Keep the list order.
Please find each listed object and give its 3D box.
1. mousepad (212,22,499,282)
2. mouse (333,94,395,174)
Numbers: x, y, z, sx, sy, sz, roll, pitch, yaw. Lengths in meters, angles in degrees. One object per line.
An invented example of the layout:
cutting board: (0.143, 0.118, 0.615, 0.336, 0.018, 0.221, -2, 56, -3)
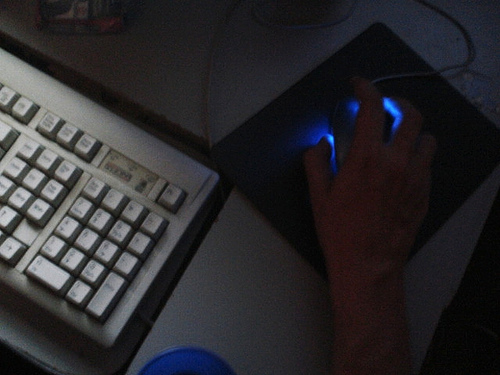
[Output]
mousepad: (0.191, -0.063, 0.795, 0.389, 0.114, 0.410, 45, 94, 11)
mouse: (0.185, -0.090, 0.762, 0.100, 0.048, 0.139, -1, 85, 10)
